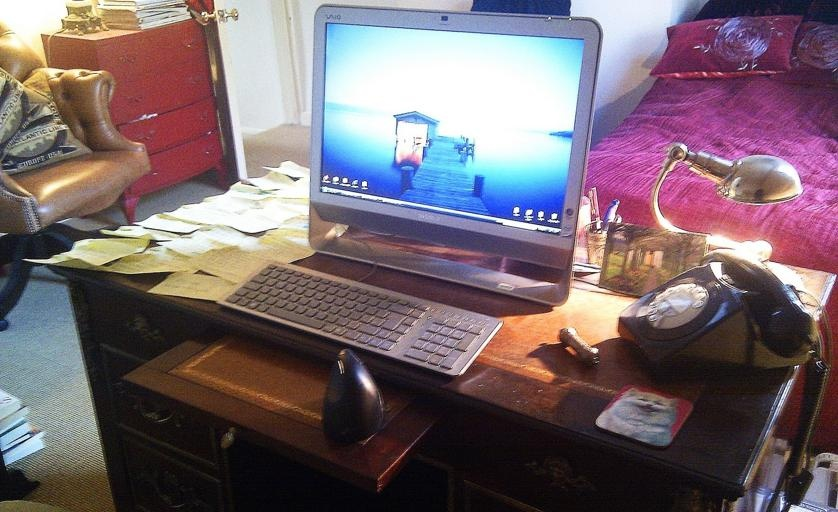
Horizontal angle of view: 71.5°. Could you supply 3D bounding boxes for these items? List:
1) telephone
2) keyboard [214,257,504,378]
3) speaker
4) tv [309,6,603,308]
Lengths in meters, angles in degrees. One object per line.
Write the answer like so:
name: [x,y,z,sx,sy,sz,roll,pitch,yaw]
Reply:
telephone: [0.666,0.110,1.282,0.396,0.162,0.362,-13,26,1]
keyboard: [-0.166,0.137,1.371,0.615,0.043,0.205,15,40,20]
speaker: [-0.136,0.290,1.176,0.127,0.151,0.125,18,34,22]
tv: [0.081,-0.247,1.446,0.870,0.623,0.173,12,32,12]
